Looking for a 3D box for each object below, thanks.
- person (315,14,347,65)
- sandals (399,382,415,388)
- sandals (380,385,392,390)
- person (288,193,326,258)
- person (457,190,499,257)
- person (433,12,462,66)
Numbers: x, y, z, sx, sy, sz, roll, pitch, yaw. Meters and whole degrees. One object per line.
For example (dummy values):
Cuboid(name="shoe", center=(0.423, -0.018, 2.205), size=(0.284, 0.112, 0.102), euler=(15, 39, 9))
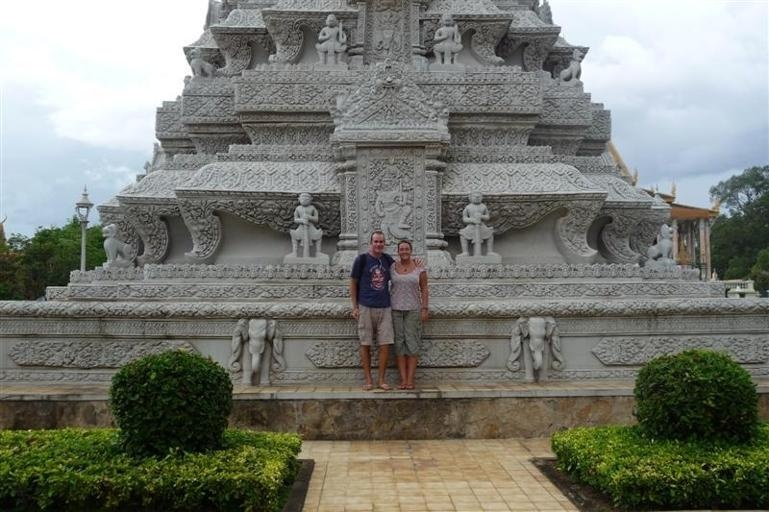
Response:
Cuboid(name="person", center=(-1.052, -4.198, 21.293), size=(0.595, 0.961, 0.224), euler=(0, -1, -3))
Cuboid(name="sandals", center=(0.363, 2.071, 17.222), size=(0.243, 0.086, 0.232), euler=(0, -1, 2))
Cuboid(name="sandals", center=(0.024, 2.084, 17.166), size=(0.186, 0.093, 0.219), euler=(0, -1, -10))
Cuboid(name="person", center=(-1.422, -0.539, 19.571), size=(0.624, 1.177, 0.362), euler=(0, -1, -6))
Cuboid(name="person", center=(1.728, -0.543, 19.750), size=(0.693, 1.188, 0.483), euler=(-1, -1, 4))
Cuboid(name="person", center=(1.248, -4.269, 21.491), size=(0.569, 1.072, 0.396), euler=(-1, -1, 1))
